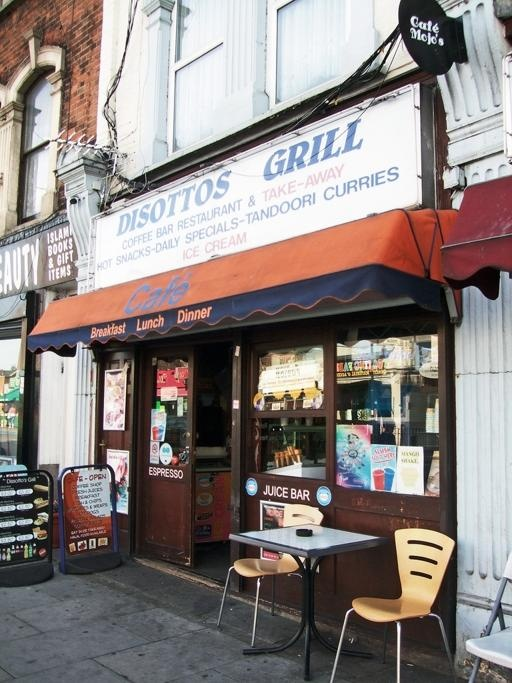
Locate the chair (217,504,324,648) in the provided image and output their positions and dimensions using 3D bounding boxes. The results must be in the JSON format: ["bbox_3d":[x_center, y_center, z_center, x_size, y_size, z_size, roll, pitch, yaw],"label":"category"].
[{"bbox_3d":[0.041,1.721,4.989,0.501,0.853,0.545,-1,-6,37],"label":"chair"}]
